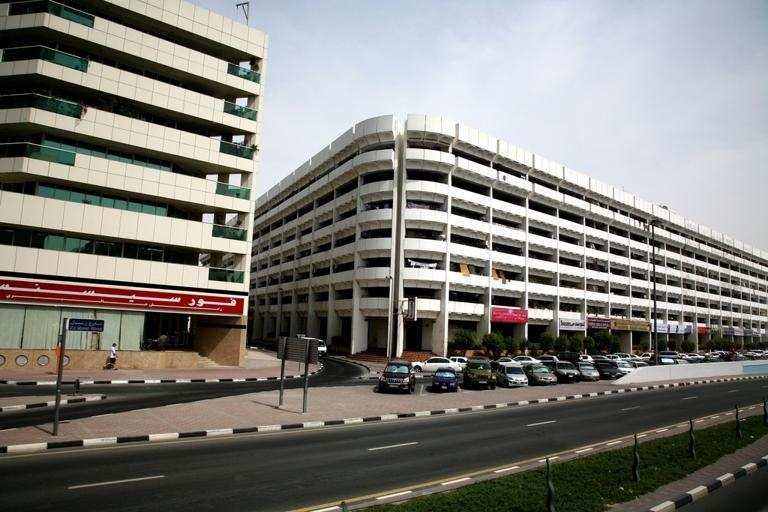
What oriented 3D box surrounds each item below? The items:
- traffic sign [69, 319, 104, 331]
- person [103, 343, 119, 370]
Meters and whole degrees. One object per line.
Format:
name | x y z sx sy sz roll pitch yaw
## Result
traffic sign | -15.878 3.595 32.572 1.627 0.633 0.991 6 -14 -25
person | -21.099 7.703 47.498 0.809 2.128 1.290 4 -13 -17
